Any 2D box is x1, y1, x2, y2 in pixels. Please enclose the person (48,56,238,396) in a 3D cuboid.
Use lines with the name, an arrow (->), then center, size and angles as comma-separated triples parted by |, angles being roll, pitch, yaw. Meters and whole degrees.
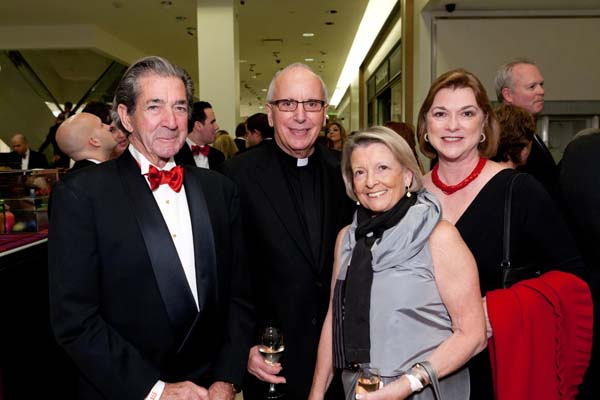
person -> -0.896, 0.197, 2.630 | 0.927, 1.914, 0.523 | -6, 10, -12

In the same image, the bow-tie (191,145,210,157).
bow-tie -> -1.291, -0.657, 6.269 | 0.078, 0.142, 0.358 | 4, 6, 28

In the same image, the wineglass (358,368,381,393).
wineglass -> 0.377, 0.951, 2.545 | 0.104, 0.127, 0.110 | 0, -2, -10

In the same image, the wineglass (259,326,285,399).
wineglass -> -0.163, 1.024, 3.026 | 0.163, 0.513, 0.195 | -4, 10, -3

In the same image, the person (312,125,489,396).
person -> 0.576, 0.342, 2.751 | 0.834, 1.496, 0.652 | -4, 10, -3

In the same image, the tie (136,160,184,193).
tie -> -0.806, -0.127, 2.720 | 0.155, 0.131, 0.047 | -8, -3, -33

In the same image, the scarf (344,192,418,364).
scarf -> 0.434, 0.446, 2.841 | 0.363, 0.900, 0.416 | 1, 1, -26
